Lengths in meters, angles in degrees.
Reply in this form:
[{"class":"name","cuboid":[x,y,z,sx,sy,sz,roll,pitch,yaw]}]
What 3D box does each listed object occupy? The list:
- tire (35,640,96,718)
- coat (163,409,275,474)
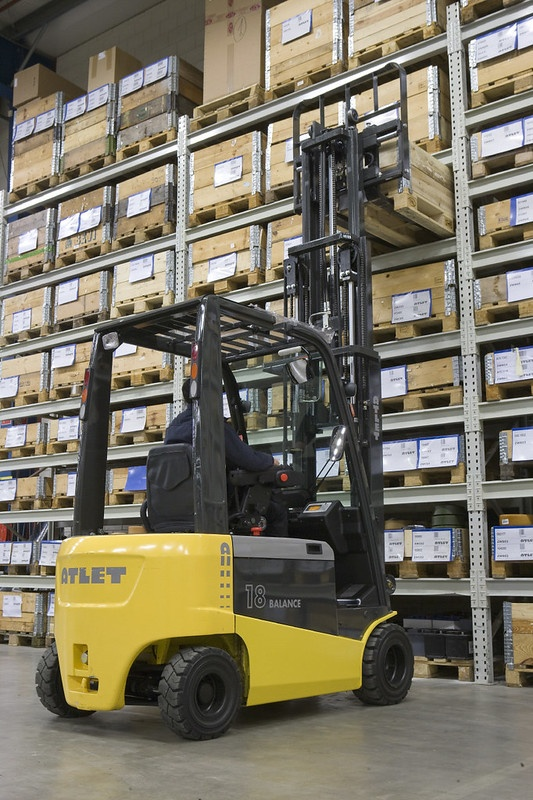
[{"class":"tire","cuboid":[-1.165,1.573,4.332,0.262,0.416,0.349,-3,-9,11]},{"class":"coat","cuboid":[-0.219,0.256,4.128,0.474,0.186,0.335,17,-20,-41]}]
